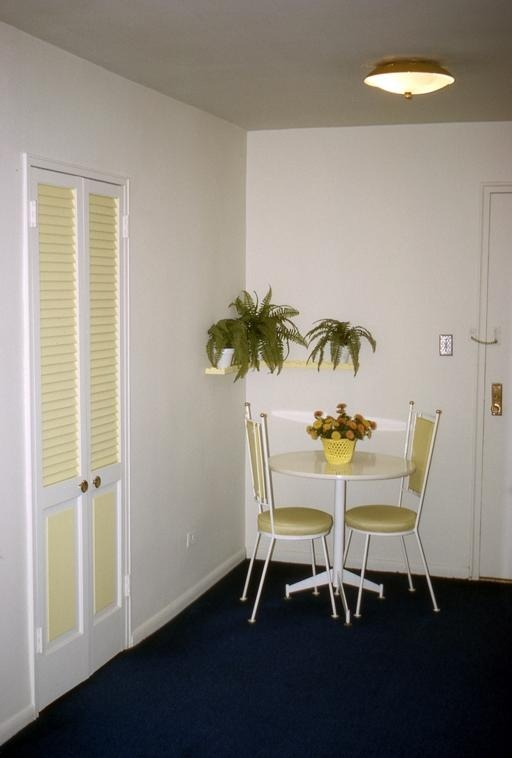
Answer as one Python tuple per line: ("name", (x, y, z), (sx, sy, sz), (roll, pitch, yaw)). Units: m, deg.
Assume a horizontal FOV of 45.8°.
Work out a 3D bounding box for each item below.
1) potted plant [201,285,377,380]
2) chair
("potted plant", (0.178, -0.262, 3.670), (0.910, 0.440, 0.558), (0, 44, -13))
("chair", (0.567, 0.721, 3.562), (1.091, 1.399, 0.975), (1, 4, 15))
